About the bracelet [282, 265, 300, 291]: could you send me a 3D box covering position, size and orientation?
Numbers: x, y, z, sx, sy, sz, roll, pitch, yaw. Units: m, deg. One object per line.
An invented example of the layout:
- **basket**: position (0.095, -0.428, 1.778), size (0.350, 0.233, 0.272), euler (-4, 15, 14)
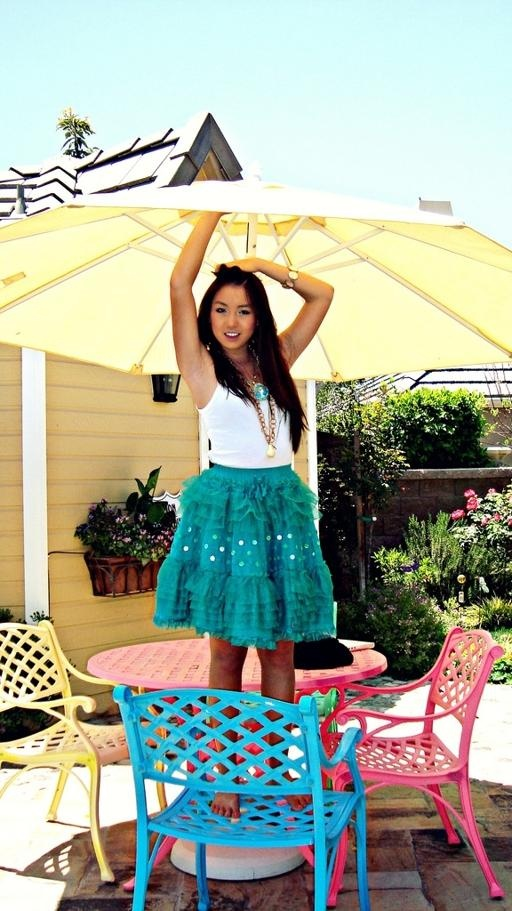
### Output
- **bracelet**: position (0.097, -0.494, 2.059), size (0.040, 0.062, 0.060), euler (1, -1, -18)

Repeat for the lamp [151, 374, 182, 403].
- **lamp**: position (-0.634, -0.469, 5.319), size (0.195, 0.192, 0.215), euler (1, 3, 3)

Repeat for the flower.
- **flower**: position (-0.797, 0.397, 4.928), size (0.576, 0.286, 0.743), euler (23, 27, 20)
